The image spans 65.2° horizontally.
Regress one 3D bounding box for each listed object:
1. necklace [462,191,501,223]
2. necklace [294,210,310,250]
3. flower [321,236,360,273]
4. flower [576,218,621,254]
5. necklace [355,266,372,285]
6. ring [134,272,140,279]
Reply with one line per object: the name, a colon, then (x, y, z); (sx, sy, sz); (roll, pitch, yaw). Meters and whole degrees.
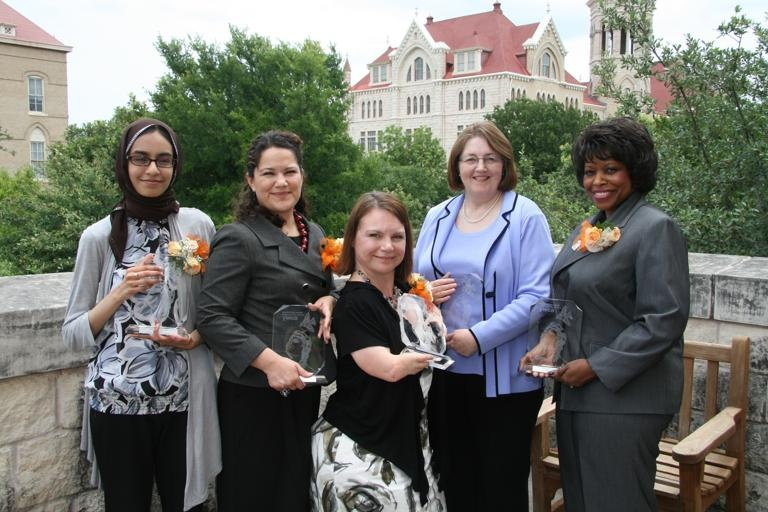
necklace: (0.684, -0.306, 4.203); (0.239, 0.227, 0.113); (8, -17, 41)
necklace: (-0.520, -0.148, 3.817); (0.074, 0.203, 0.148); (-9, 18, 11)
flower: (-0.284, 0.001, 3.727); (0.100, 0.194, 0.197); (-13, -22, 19)
flower: (1.273, -0.111, 3.600); (0.186, 0.184, 0.092); (13, 0, 37)
necklace: (-0.127, 0.125, 3.518); (0.085, 0.034, 0.080); (-43, -15, -40)
ring: (-1.410, 0.113, 3.406); (0.011, 0.035, 0.037); (3, 5, 34)
